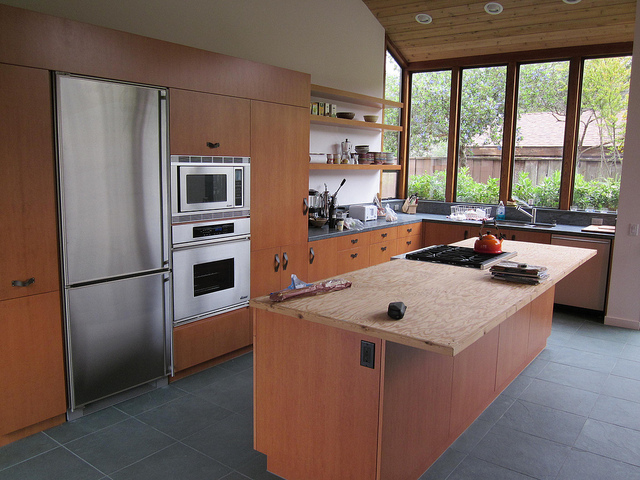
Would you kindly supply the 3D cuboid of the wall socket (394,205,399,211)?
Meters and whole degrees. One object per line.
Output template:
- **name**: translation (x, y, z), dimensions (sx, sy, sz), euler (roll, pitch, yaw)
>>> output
- **wall socket**: translation (1.207, -0.512, 7.127), dimensions (0.012, 0.062, 0.091), euler (5, 10, 39)

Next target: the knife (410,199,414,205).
- **knife**: translation (1.424, -0.584, 6.970), dimensions (0.050, 0.066, 0.121), euler (5, 14, 17)

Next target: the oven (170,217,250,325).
- **oven**: translation (-1.131, 0.220, 4.157), dimensions (0.873, 0.891, 0.622), euler (-8, 14, -43)

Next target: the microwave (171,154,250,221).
- **microwave**: translation (-1.085, -0.465, 3.986), dimensions (0.424, 0.579, 0.843), euler (10, 14, 37)

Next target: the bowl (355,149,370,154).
- **bowl**: translation (0.554, -1.162, 5.946), dimensions (0.166, 0.056, 0.095), euler (-1, 13, -8)

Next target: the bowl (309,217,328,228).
- **bowl**: translation (-0.012, -0.202, 5.362), dimensions (0.228, 0.124, 0.079), euler (-5, 15, -25)

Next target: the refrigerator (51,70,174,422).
- **refrigerator**: translation (-1.505, 0.009, 3.339), dimensions (0.923, 2.337, 0.344), euler (-8, 16, -33)

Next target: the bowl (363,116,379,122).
- **bowl**: translation (0.678, -1.592, 5.956), dimensions (0.105, 0.046, 0.103), euler (0, 7, 0)

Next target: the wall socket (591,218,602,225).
- **wall socket**: translation (3.507, -0.227, 5.698), dimensions (0.128, 0.084, 0.069), euler (5, 10, 30)

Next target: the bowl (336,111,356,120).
- **bowl**: translation (0.311, -1.521, 5.550), dimensions (0.193, 0.074, 0.190), euler (-1, 8, 0)

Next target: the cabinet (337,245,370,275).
- **cabinet**: translation (0.387, 0.234, 5.305), dimensions (0.516, 0.249, 0.275), euler (-11, 19, -38)
